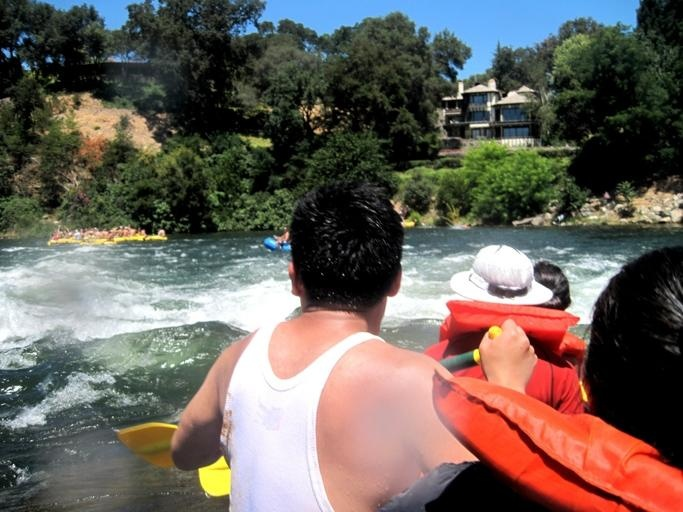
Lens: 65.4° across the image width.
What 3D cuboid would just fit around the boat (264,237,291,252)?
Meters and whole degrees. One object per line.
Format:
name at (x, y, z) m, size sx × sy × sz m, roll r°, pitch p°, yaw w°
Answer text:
boat at (-2.684, -0.454, 22.068) m, size 0.805 × 0.511 × 1.513 m, roll 15°, pitch 2°, yaw -18°

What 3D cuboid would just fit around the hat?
hat at (0.985, 0.122, 3.194) m, size 0.419 × 0.194 × 0.441 m, roll -13°, pitch 33°, yaw -24°
